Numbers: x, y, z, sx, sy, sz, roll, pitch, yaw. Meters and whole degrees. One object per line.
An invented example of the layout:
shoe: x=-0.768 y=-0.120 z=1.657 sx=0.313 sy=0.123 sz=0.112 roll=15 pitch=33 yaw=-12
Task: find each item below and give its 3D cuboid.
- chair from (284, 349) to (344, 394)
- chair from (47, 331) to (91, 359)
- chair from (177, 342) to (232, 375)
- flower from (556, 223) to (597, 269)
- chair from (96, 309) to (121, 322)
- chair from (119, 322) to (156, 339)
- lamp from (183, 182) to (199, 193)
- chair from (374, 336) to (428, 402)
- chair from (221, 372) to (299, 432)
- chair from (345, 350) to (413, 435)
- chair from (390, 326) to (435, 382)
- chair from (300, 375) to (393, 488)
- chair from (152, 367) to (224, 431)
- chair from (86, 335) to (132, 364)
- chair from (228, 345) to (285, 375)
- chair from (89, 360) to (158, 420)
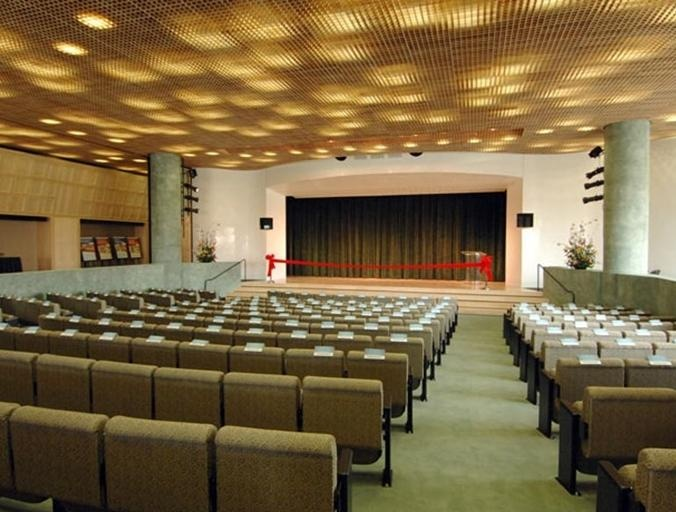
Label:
chair: x=-0.251 y=1.236 z=5.618 sx=0.607 sy=0.399 sz=0.346 roll=2 pitch=11 yaw=9
chair: x=-3.399 y=1.123 z=6.160 sx=0.496 sy=0.328 sz=0.283 roll=3 pitch=5 yaw=14
chair: x=-1.597 y=1.207 z=5.830 sx=0.579 sy=0.377 sz=0.328 roll=3 pitch=9 yaw=9
flower: x=7.148 y=-0.063 z=14.543 sx=0.892 sy=1.010 sz=0.850 roll=2 pitch=-10 yaw=-11
chair: x=-4.051 y=1.060 z=8.646 sx=0.291 sy=0.272 sz=0.158 roll=2 pitch=7 yaw=8
chair: x=-2.864 y=1.069 z=6.958 sx=0.354 sy=0.234 sz=0.204 roll=4 pitch=13 yaw=10
lamp: x=-5.778 y=-2.646 z=19.108 sx=0.371 sy=0.350 sz=1.402 roll=-4 pitch=5 yaw=-28
chair: x=0.840 y=1.578 z=6.817 sx=0.791 sy=0.893 sz=0.741 roll=4 pitch=-9 yaw=-8
chair: x=-0.730 y=1.388 z=4.750 sx=0.590 sy=0.556 sz=0.587 roll=2 pitch=3 yaw=11
chair: x=0.559 y=1.538 z=5.972 sx=0.916 sy=1.121 sz=0.830 roll=0 pitch=1 yaw=15
chair: x=1.106 y=1.370 z=7.140 sx=0.739 sy=0.847 sz=0.667 roll=3 pitch=-29 yaw=2
chair: x=0.078 y=1.781 z=5.014 sx=0.996 sy=1.064 sz=1.106 roll=-1 pitch=-9 yaw=3
chair: x=-1.432 y=1.303 z=4.990 sx=0.694 sy=0.716 sz=0.544 roll=3 pitch=5 yaw=11
chair: x=-2.824 y=1.153 z=6.036 sx=0.543 sy=0.356 sz=0.312 roll=3 pitch=5 yaw=12
chair: x=-0.938 y=1.221 z=5.713 sx=0.578 sy=0.382 sz=0.331 roll=3 pitch=20 yaw=3
chair: x=-2.110 y=1.335 z=4.830 sx=0.572 sy=0.515 sz=0.290 roll=0 pitch=-2 yaw=13
